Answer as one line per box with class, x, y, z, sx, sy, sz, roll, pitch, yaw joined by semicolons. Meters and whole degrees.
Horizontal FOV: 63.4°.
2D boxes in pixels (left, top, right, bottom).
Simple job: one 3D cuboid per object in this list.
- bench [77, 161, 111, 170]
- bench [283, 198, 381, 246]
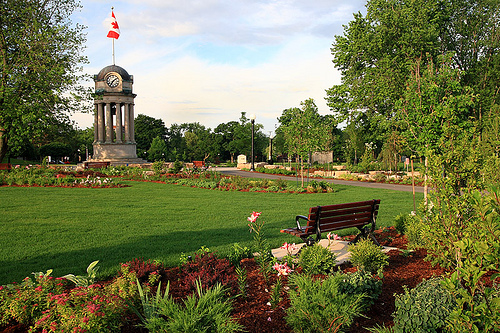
bench;-15.708;-0.157;40.663;2.007;0.511;2.067;0;-1;30
bench;2.703;1.963;12.850;3.328;1.723;1.368;-2;1;-37
